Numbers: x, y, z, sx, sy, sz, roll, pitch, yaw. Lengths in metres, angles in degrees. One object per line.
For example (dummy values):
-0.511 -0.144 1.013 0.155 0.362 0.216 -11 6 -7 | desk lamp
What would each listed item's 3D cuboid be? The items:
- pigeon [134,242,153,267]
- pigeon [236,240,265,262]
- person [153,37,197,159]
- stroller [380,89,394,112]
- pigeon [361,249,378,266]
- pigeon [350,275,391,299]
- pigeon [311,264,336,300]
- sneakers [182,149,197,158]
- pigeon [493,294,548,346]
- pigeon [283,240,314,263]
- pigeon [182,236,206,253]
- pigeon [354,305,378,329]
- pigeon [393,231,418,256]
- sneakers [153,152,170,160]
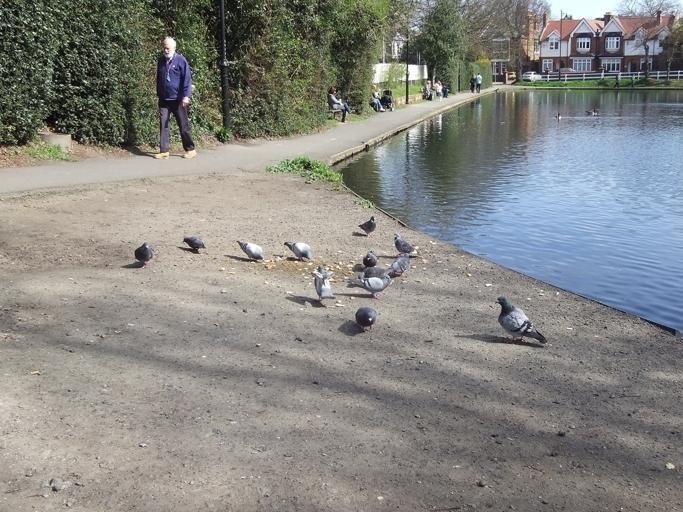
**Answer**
-2.906 -0.041 9.879 0.185 0.292 0.486 2 7 -13 | pigeon
-1.430 -0.131 10.776 0.477 0.286 0.223 28 57 17 | pigeon
-4.392 -3.998 17.718 1.169 3.121 1.026 0 19 8 | person
3.099 -10.313 45.319 0.592 1.022 1.865 4 25 9 | stroller
0.450 0.048 10.692 0.152 0.298 0.200 5 6 4 | pigeon
0.456 0.425 9.685 0.469 0.397 0.506 2 20 12 | pigeon
-0.248 0.349 9.492 0.348 0.494 0.796 -2 4 -10 | pigeon
-4.224 -2.829 18.823 0.161 0.190 0.451 16 22 2 | sneakers
2.325 0.855 8.639 0.720 0.496 0.361 18 23 27 | pigeon
-0.684 -0.067 11.030 0.411 0.350 0.365 3 20 15 | pigeon
-2.381 -0.190 10.886 0.329 0.269 0.364 -4 19 -5 | pigeon
0.314 0.777 8.646 0.262 0.344 0.346 -2 19 1 | pigeon
1.042 -0.182 11.821 0.218 0.355 0.616 -2 14 -40 | pigeon
-4.839 -2.663 18.171 0.357 0.252 0.173 2 9 -3 | sneakers
